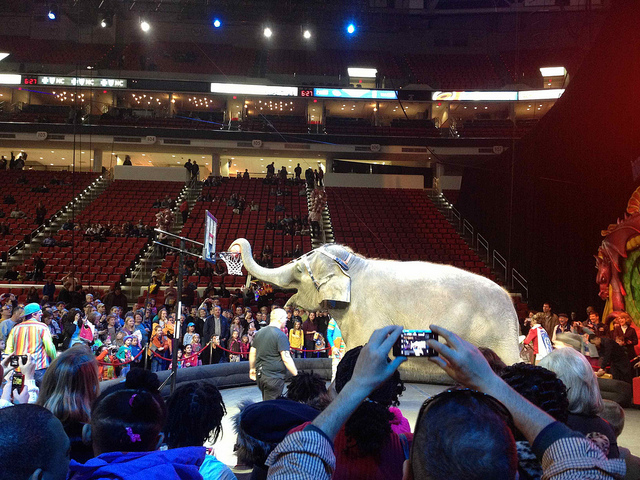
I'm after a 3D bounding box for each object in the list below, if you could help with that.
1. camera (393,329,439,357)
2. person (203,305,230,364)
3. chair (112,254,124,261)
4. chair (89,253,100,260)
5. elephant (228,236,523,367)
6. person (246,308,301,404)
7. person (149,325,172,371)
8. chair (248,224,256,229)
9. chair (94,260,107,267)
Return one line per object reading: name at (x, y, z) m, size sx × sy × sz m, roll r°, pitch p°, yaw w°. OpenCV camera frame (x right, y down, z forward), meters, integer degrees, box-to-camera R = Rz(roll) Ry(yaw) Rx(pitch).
camera at (0.455, 0.492, 2.538) m, size 0.205 × 0.150 × 0.342 m, roll -4°, pitch -20°, yaw 9°
person at (-2.124, 2.161, 10.996) m, size 0.494 × 1.612 × 0.445 m, roll -2°, pitch -14°, yaw -10°
chair at (-7.009, 0.607, 18.417) m, size 0.240 × 0.240 × 0.208 m, roll -8°, pitch -11°, yaw 35°
chair at (-7.839, 0.554, 18.464) m, size 0.214 × 0.234 × 0.232 m, roll 2°, pitch -7°, yaw -7°
elephant at (0.821, 0.571, 6.329) m, size 3.237 × 2.134 × 1.144 m, roll 5°, pitch -6°, yaw 9°
person at (-0.582, 1.566, 6.219) m, size 0.596 × 1.485 × 0.461 m, roll 5°, pitch 0°, yaw 35°
person at (-3.030, 2.130, 10.116) m, size 0.287 × 0.989 × 0.418 m, roll 14°, pitch 15°, yaw 34°
chair at (-2.721, -0.561, 21.358) m, size 0.252 × 0.156 × 0.183 m, roll 7°, pitch -28°, yaw -5°
chair at (-7.454, 0.790, 18.037) m, size 0.227 × 0.221 × 0.237 m, roll 4°, pitch -12°, yaw -20°
